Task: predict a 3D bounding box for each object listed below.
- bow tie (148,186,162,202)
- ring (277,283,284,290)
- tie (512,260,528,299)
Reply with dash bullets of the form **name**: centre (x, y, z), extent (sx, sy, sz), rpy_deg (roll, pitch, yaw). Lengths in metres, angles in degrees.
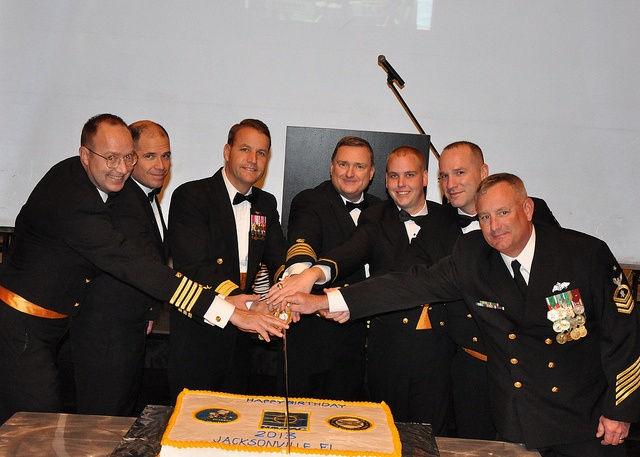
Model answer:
- **bow tie**: centre (-1.478, -0.303, 5.043), extent (0.136, 0.086, 0.175), rpy_deg (3, -26, -26)
- **ring**: centre (-0.306, 0.455, 4.366), extent (0.036, 0.047, 0.114), rpy_deg (-1, 7, -3)
- **tie**: centre (1.357, 0.344, 3.862), extent (0.068, 0.291, 0.044), rpy_deg (-14, -34, 10)
